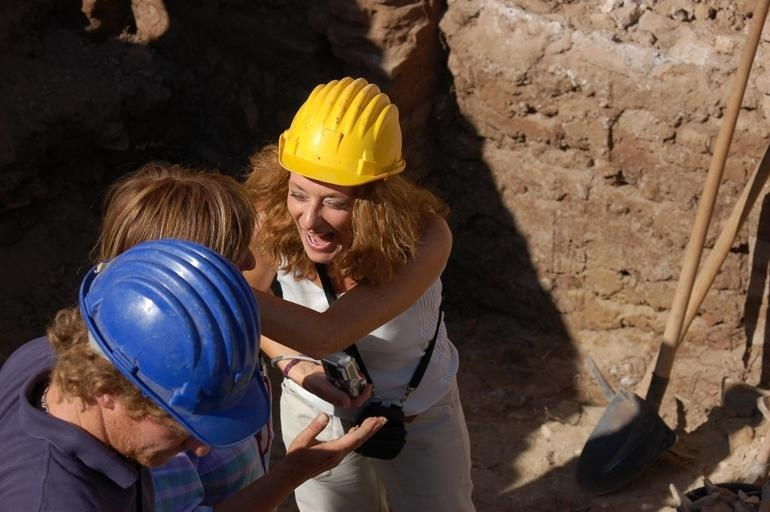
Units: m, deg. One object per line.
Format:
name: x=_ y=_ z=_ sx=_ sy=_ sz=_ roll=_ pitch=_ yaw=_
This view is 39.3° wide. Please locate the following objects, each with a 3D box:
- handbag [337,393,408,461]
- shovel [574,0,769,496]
handbag: x=-0.080 y=1.048 z=6.494 sx=0.231 sy=0.477 sz=0.417 roll=3 pitch=-11 yaw=39
shovel: x=2.036 y=0.058 z=7.206 sx=0.655 sy=3.479 sz=0.745 roll=20 pitch=24 yaw=12
